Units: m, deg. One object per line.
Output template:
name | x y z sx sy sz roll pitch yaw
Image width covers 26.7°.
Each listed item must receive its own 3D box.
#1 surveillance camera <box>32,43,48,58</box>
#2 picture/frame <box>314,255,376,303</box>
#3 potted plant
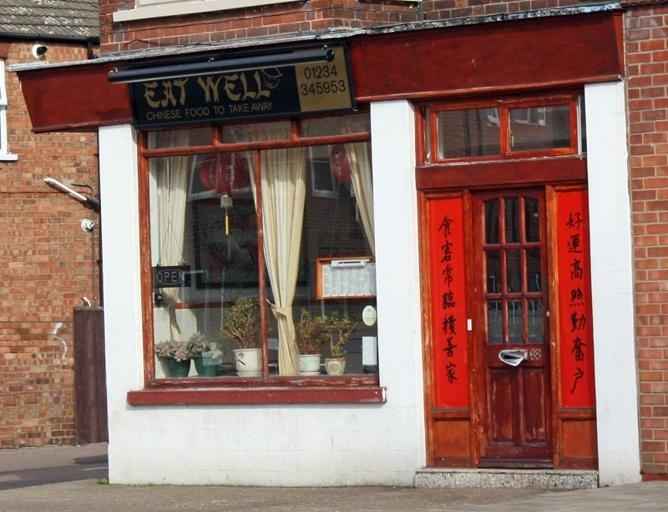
surveillance camera | -4.484 -3.180 21.634 0.246 0.267 0.125 0 -6 -29
picture/frame | 0.167 0.275 16.554 0.590 0.377 0.084 -1 -4 19
potted plant | -0.832 1.019 17.388 2.913 1.105 0.938 -1 -7 16
